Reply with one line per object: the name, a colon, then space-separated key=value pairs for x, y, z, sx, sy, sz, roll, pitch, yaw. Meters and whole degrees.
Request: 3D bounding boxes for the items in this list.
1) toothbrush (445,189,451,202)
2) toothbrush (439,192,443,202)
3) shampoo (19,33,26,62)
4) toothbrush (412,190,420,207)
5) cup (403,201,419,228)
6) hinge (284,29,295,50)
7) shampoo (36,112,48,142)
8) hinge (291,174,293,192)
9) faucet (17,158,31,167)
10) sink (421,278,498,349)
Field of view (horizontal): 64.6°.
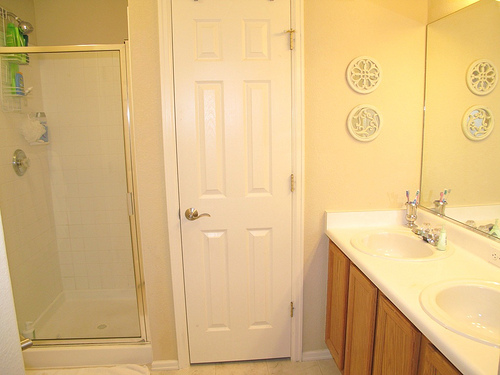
toothbrush: x=1.313 y=0.050 z=2.624 sx=0.028 sy=0.076 sz=0.016 roll=3 pitch=12 yaw=15
toothbrush: x=1.277 y=0.066 z=2.640 sx=0.017 sy=0.063 sz=0.062 roll=6 pitch=13 yaw=26
shampoo: x=-1.753 y=-1.090 z=3.086 sx=0.058 sy=0.185 sz=0.131 roll=-4 pitch=7 yaw=-33
toothbrush: x=1.139 y=0.070 z=2.719 sx=0.010 sy=0.119 sz=0.030 roll=28 pitch=-14 yaw=-28
cup: x=1.120 y=0.191 z=2.735 sx=0.103 sy=0.183 sz=0.124 roll=5 pitch=13 yaw=23
hinge: x=0.268 y=-0.998 z=2.668 sx=0.069 sy=0.130 sz=0.017 roll=0 pitch=12 yaw=2
shampoo: x=-1.756 y=-0.514 z=3.371 sx=0.040 sy=0.247 sz=0.101 roll=2 pitch=12 yaw=11
hinge: x=0.299 y=-0.030 z=2.788 sx=0.019 sy=0.125 sz=0.009 roll=7 pitch=14 yaw=32
faucet: x=-1.797 y=-0.197 z=3.166 sx=0.056 sy=0.087 sz=0.058 roll=9 pitch=11 yaw=25
sink: x=1.079 y=0.642 z=2.038 sx=0.292 sy=0.105 sz=0.296 roll=5 pitch=29 yaw=31
